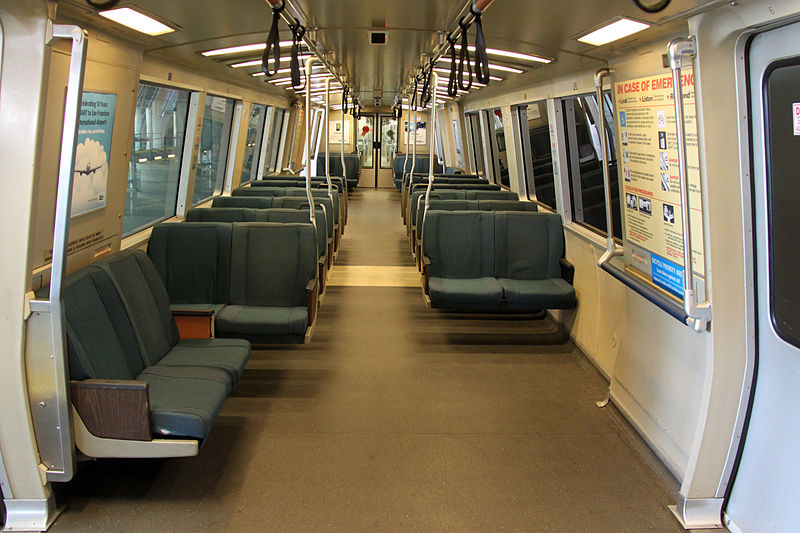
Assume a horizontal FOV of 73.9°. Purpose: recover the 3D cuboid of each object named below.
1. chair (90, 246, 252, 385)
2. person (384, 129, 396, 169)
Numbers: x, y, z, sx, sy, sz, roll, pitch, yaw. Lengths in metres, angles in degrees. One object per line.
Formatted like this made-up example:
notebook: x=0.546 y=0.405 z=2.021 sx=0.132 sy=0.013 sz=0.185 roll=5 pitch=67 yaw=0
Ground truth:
chair: x=-1.885 y=0.447 z=4.261 sx=1.086 sy=1.054 sz=1.306 roll=2 pitch=14 yaw=2
person: x=-0.434 y=-4.339 z=19.533 sx=0.493 sy=1.343 sz=0.252 roll=0 pitch=11 yaw=-3
